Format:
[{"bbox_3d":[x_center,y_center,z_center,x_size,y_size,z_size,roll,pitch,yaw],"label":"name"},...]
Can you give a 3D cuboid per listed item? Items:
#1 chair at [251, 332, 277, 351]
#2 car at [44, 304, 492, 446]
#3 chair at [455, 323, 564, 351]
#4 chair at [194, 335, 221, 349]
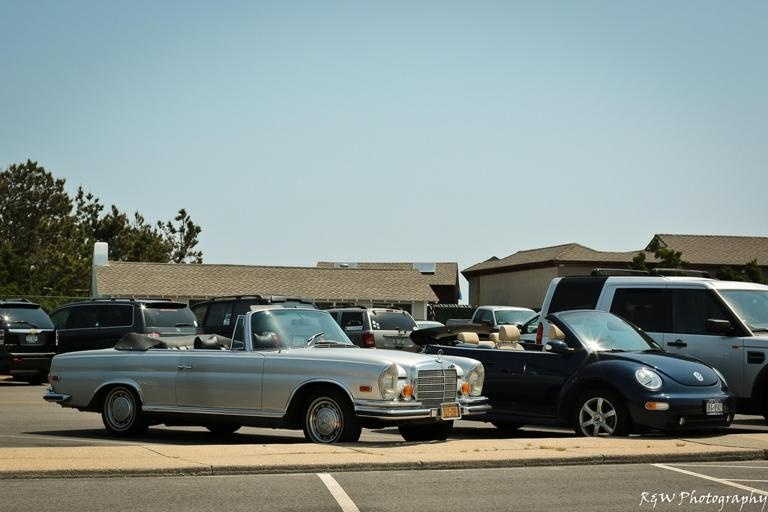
[{"bbox_3d":[-2.022,1.446,14.300,0.411,0.207,0.192,4,-7,-18],"label":"chair"},{"bbox_3d":[-2.155,2.160,14.935,6.643,1.716,2.853,-3,-5,25],"label":"car"},{"bbox_3d":[2.373,1.595,16.032,1.531,0.437,0.699,-3,-4,30],"label":"chair"},{"bbox_3d":[-3.149,1.528,14.898,0.296,0.118,0.312,4,3,42],"label":"chair"}]
